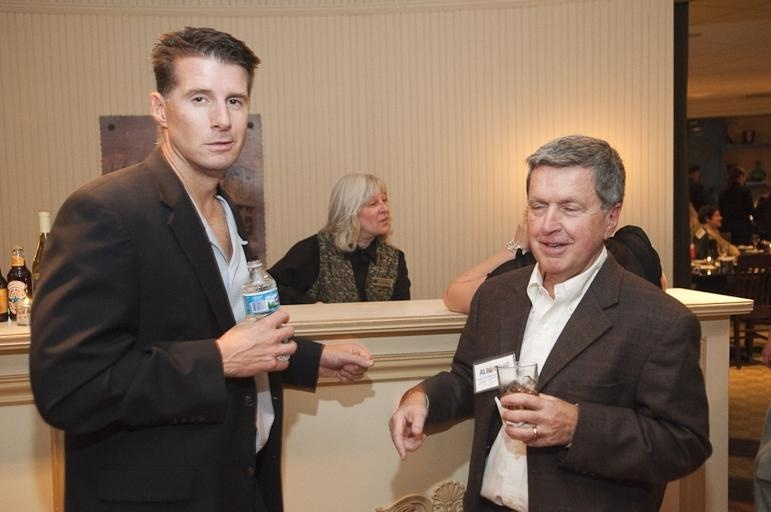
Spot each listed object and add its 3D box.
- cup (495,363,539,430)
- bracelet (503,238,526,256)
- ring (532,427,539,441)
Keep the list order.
[{"bbox_3d":[0.555,0.524,2.598,0.134,0.172,0.162,5,1,11],"label":"cup"},{"bbox_3d":[0.684,-0.041,3.295,0.098,0.049,0.077,5,9,-15],"label":"bracelet"},{"bbox_3d":[0.599,0.711,2.496,0.013,0.042,0.030,0,-25,-22],"label":"ring"}]
